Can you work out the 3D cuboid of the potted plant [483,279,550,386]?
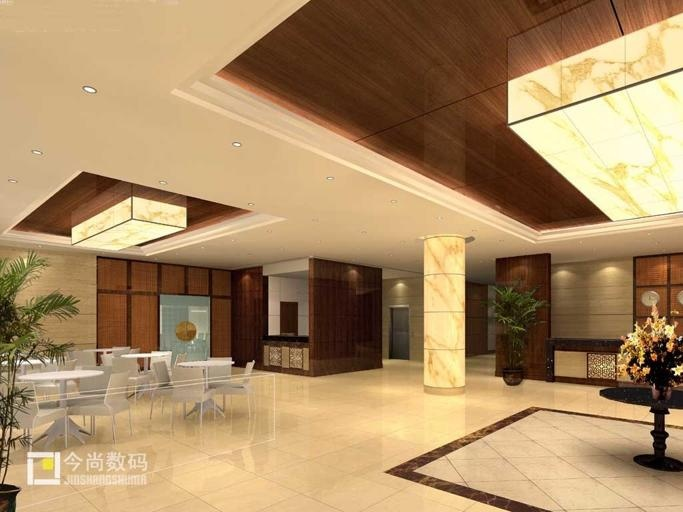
[{"bbox_3d":[4.814,2.017,12.640,1.354,2.631,1.926,0,-4,17],"label":"potted plant"}]

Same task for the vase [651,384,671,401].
[{"bbox_3d":[4.200,1.786,6.135,0.240,0.144,0.226,2,-3,-27],"label":"vase"}]
